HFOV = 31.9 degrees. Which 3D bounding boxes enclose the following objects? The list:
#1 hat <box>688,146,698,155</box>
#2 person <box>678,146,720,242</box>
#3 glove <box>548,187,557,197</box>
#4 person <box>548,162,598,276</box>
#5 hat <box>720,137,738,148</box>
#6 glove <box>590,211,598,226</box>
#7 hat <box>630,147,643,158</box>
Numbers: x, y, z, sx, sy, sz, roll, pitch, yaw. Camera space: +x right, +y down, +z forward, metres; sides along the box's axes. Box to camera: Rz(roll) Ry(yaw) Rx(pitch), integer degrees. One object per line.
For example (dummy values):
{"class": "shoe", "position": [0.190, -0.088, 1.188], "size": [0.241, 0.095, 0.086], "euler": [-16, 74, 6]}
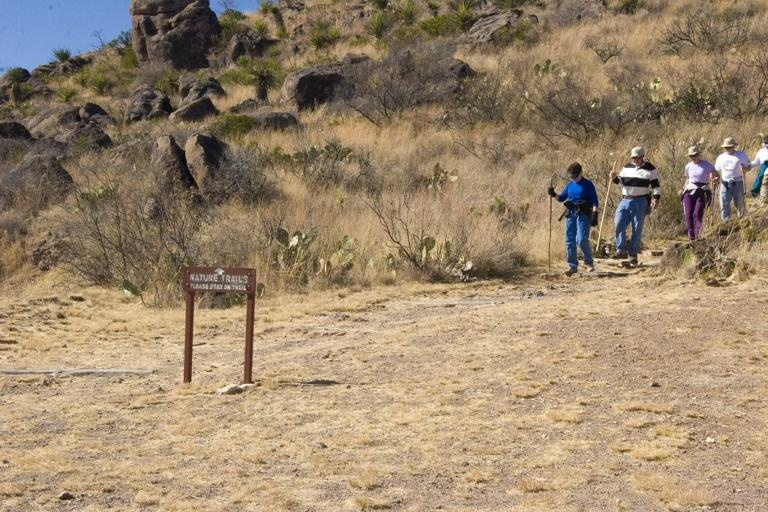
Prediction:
{"class": "hat", "position": [8.246, -2.761, 35.959], "size": [0.323, 0.162, 0.389], "euler": [-5, 1, 15]}
{"class": "person", "position": [8.429, -1.674, 36.209], "size": [0.928, 1.672, 1.138], "euler": [-2, 1, 13]}
{"class": "glove", "position": [4.433, -1.667, 35.659], "size": [0.195, 0.151, 0.349], "euler": [30, 1, 21]}
{"class": "person", "position": [5.137, -0.962, 36.003], "size": [1.065, 2.121, 1.034], "euler": [-2, 1, 8]}
{"class": "hat", "position": [9.692, -3.166, 37.966], "size": [0.469, 0.239, 0.570], "euler": [-1, 18, 42]}
{"class": "glove", "position": [5.565, -0.982, 35.622], "size": [0.233, 0.359, 0.127], "euler": [-9, -19, 41]}
{"class": "hat", "position": [6.759, -2.753, 35.788], "size": [0.284, 0.233, 0.405], "euler": [2, -2, 33]}
